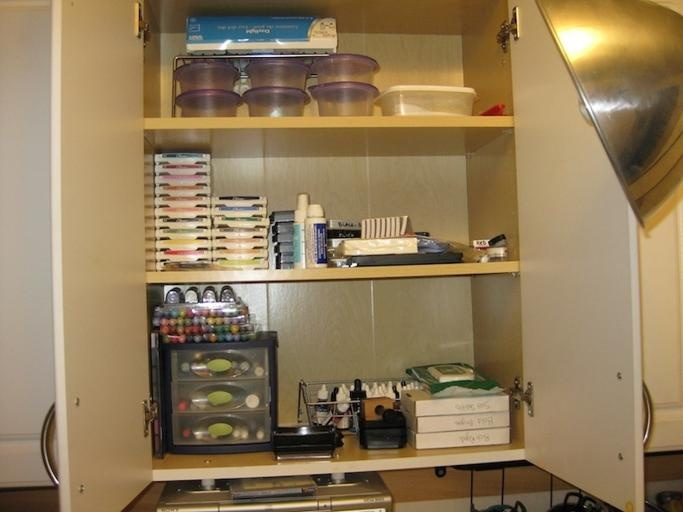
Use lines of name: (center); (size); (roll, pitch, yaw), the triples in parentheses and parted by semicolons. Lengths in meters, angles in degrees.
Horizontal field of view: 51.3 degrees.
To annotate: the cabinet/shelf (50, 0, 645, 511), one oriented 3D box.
cabinet/shelf: (-0.029, 0.011, 2.321); (1.115, 1.023, 1.501); (-1, -2, -5)
